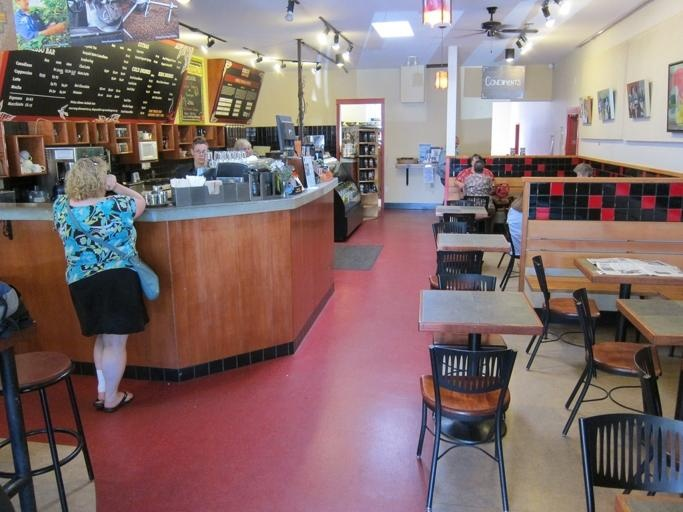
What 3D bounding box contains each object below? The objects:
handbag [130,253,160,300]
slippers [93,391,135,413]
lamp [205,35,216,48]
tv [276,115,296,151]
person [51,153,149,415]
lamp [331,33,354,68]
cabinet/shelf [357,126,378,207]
[{"bbox_3d":[-1.582,0.172,4.219,0.142,0.294,0.233,-17,42,-16],"label":"handbag"},{"bbox_3d":[-1.881,1.221,4.367,0.130,0.077,0.241,4,15,6],"label":"slippers"},{"bbox_3d":[-2.231,-3.611,8.938,0.212,0.226,0.053,-3,7,-4],"label":"lamp"},{"bbox_3d":[-0.691,-1.510,6.495,0.193,0.437,0.483,-3,12,-5],"label":"tv"},{"bbox_3d":[-1.870,0.248,4.230,0.659,2.030,0.402,-6,13,-20],"label":"person"},{"bbox_3d":[0.013,-4.004,10.236,0.231,0.487,0.856,10,19,17],"label":"lamp"},{"bbox_3d":[0.598,-2.092,12.266,0.476,1.818,0.347,-1,12,0],"label":"cabinet/shelf"}]
